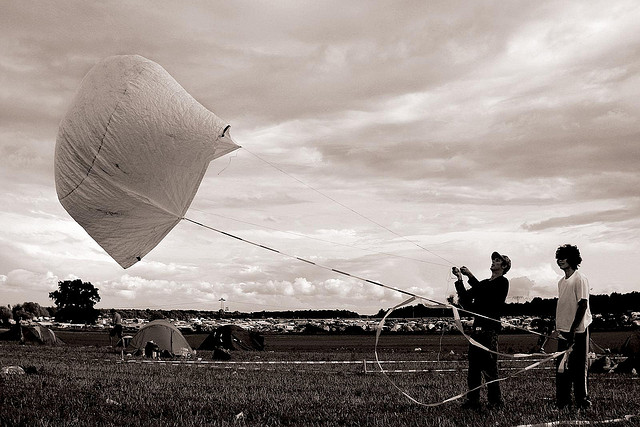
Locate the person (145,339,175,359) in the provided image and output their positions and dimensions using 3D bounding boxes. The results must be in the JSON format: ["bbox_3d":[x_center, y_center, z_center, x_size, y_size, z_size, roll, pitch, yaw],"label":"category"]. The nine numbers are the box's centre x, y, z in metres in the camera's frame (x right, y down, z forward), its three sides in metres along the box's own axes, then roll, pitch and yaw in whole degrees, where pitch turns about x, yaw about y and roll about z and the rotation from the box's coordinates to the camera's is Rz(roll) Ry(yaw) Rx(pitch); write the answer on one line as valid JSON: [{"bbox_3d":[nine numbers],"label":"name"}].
[{"bbox_3d":[-6.443,5.379,24.422,1.168,0.654,1.771,2,-10,-4],"label":"person"}]

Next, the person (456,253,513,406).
[{"bbox_3d":[3.330,2.335,12.456,1.025,3.073,0.791,-1,-11,14],"label":"person"}]

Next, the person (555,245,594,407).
[{"bbox_3d":[5.238,2.290,12.654,0.655,3.286,0.534,-2,-11,21],"label":"person"}]
